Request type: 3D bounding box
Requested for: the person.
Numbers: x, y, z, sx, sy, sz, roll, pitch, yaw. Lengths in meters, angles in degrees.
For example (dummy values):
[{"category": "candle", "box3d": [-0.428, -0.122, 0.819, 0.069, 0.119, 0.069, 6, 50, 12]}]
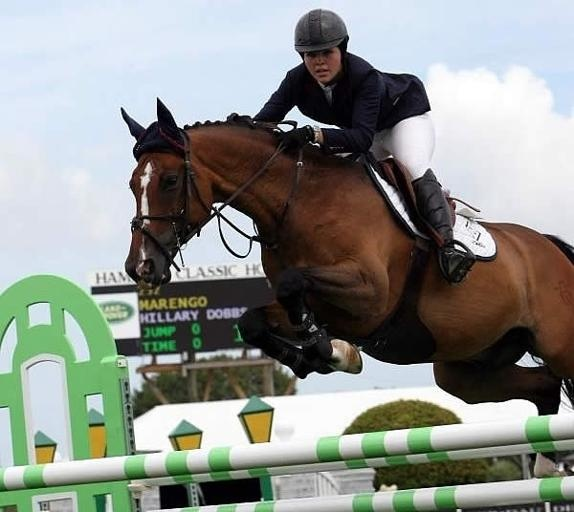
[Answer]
[{"category": "person", "box3d": [0.257, -0.314, 5.513, 0.718, 1.009, 0.728, -25, -2, -35]}]
